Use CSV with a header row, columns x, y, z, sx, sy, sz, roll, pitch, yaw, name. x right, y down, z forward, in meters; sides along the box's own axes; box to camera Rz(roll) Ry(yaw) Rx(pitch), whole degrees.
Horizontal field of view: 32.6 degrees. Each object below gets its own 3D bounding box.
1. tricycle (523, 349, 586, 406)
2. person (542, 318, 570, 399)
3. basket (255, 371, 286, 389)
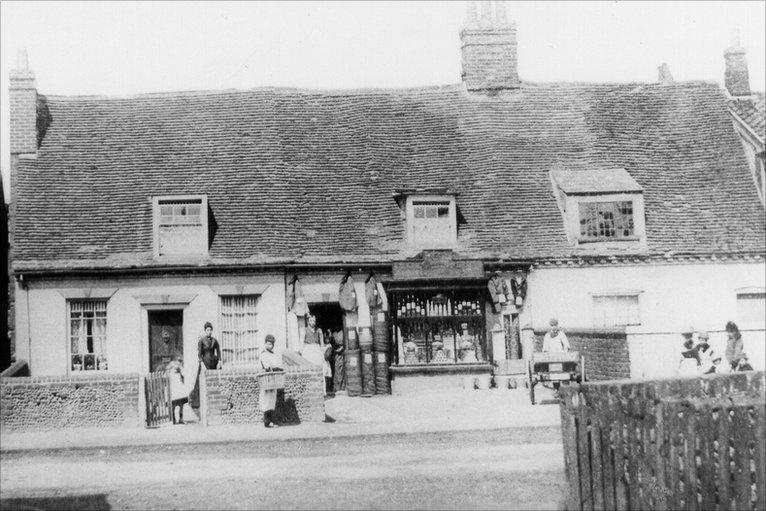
x,y,z,sx,sy,sz,roll,pitch,yaw,name
3.649,2.503,28.312,0.867,0.679,1.277,-1,7,5,tricycle
3.707,2.026,28.175,0.565,1.496,0.381,-1,37,9,person
-2.316,2.554,27.049,0.441,0.288,0.353,1,-6,-18,basket
